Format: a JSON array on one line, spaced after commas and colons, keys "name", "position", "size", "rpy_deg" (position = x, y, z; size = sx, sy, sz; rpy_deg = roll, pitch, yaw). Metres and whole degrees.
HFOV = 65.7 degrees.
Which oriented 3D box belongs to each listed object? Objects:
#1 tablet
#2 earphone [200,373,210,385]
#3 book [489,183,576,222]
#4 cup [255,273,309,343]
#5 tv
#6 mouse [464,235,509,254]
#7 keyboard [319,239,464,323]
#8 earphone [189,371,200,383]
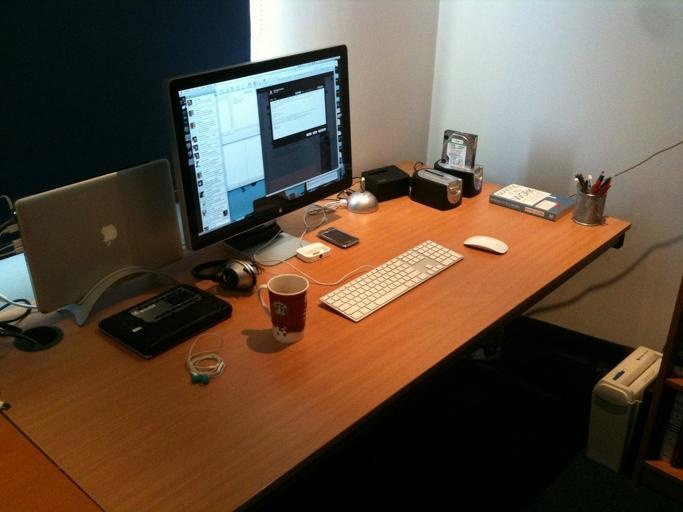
[{"name": "tablet", "position": [-0.684, -0.065, 1.546], "size": [0.036, 0.321, 0.458], "rpy_deg": [15, 28, 35]}, {"name": "earphone", "position": [-0.333, 0.299, 1.287], "size": [0.019, 0.019, 0.010], "rpy_deg": [15, -18, -27]}, {"name": "book", "position": [0.739, -0.202, 2.050], "size": [0.302, 0.042, 0.255], "rpy_deg": [23, 31, 39]}, {"name": "cup", "position": [-0.163, 0.138, 1.411], "size": [0.154, 0.150, 0.105], "rpy_deg": [8, 26, 15]}, {"name": "tv", "position": [-0.238, -0.326, 1.715], "size": [0.218, 0.614, 0.664], "rpy_deg": [29, 42, 36]}, {"name": "mouse", "position": [0.488, -0.041, 1.769], "size": [0.115, 0.025, 0.069], "rpy_deg": [19, 42, 31]}, {"name": "keyboard", "position": [0.159, 0.078, 1.625], "size": [0.458, 0.036, 0.147], "rpy_deg": [-27, 41, -30]}, {"name": "earphone", "position": [-0.359, 0.296, 1.293], "size": [0.015, 0.021, 0.021], "rpy_deg": [7, 11, -1]}]
